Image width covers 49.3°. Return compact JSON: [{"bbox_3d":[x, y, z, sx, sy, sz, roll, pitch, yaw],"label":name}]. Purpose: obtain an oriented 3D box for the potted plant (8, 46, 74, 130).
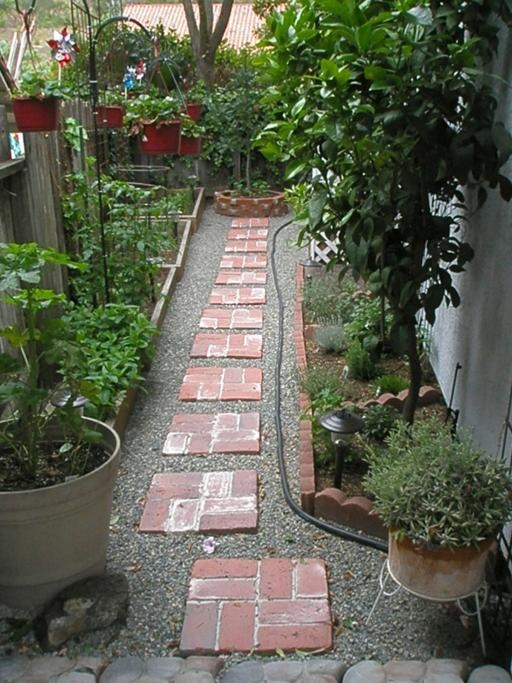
[{"bbox_3d":[-1.298,-1.408,3.327,0.337,0.286,0.289,0,20,0],"label":"potted plant"}]
